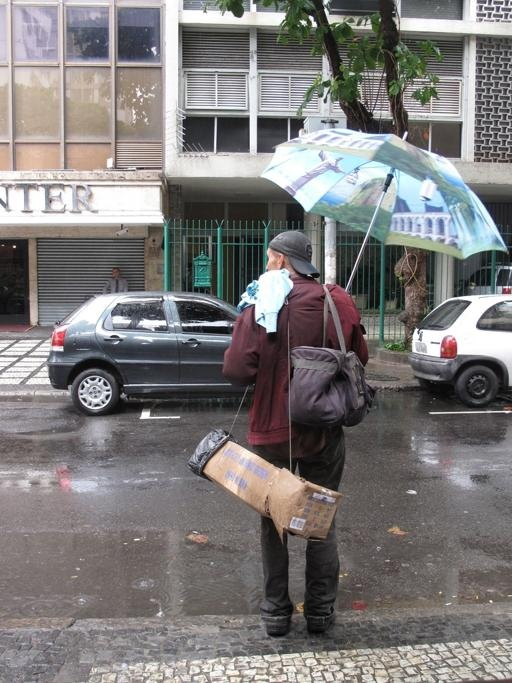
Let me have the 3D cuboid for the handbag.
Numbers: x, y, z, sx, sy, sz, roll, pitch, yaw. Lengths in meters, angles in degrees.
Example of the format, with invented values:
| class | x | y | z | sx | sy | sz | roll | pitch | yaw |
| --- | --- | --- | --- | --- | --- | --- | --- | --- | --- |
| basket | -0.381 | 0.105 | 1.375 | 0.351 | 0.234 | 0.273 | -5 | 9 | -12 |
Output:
| class | x | y | z | sx | sy | sz | roll | pitch | yaw |
| --- | --- | --- | --- | --- | --- | --- | --- | --- | --- |
| handbag | 0.343 | 0.075 | 4.064 | 0.275 | 0.662 | 0.460 | 3 | 4 | 35 |

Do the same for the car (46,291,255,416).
| class | x | y | z | sx | sy | sz | roll | pitch | yaw |
| --- | --- | --- | --- | --- | --- | --- | --- | --- | --- |
| car | -1.218 | 0.085 | 10.150 | 2.183 | 1.034 | 1.175 | -3 | 5 | -8 |

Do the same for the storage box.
| class | x | y | z | sx | sy | sz | roll | pitch | yaw |
| --- | --- | --- | --- | --- | --- | --- | --- | --- | --- |
| storage box | 0.005 | 0.642 | 4.132 | 0.761 | 0.354 | 0.335 | 23 | 2 | 43 |
